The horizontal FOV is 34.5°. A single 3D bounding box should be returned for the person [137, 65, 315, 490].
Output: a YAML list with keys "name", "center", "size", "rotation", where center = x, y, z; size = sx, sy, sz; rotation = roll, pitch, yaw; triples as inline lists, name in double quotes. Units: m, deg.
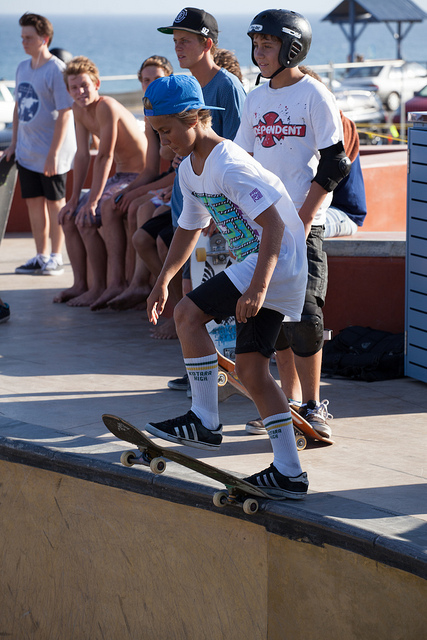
- name: "person"
  center: [0.045, -0.102, 2.535]
  size: [0.641, 1.516, 0.624]
  rotation: [1, 5, 21]

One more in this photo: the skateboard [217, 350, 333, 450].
- name: "skateboard"
  center: [0.257, 0.360, 2.985]
  size: [0.093, 0.560, 0.132]
  rotation: [-47, 9, -7]

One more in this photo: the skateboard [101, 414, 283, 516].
- name: "skateboard"
  center: [-0.089, 0.530, 2.458]
  size: [0.563, 0.132, 0.092]
  rotation: [31, 61, -1]

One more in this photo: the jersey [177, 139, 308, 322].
- name: "jersey"
  center: [0.098, -0.332, 2.554]
  size: [0.498, 0.671, 0.393]
  rotation: [1, 11, 39]

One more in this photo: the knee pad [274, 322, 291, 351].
- name: "knee pad"
  center: [0.333, 0.095, 3.305]
  size: [0.107, 0.088, 0.123]
  rotation: [1, -2, 6]

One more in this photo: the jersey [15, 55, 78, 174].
- name: "jersey"
  center: [-1.784, -2.191, 7.463]
  size: [0.896, 1.168, 0.582]
  rotation: [12, 12, 38]

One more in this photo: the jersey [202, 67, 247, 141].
- name: "jersey"
  center: [0.093, -1.371, 4.174]
  size: [0.201, 0.436, 0.342]
  rotation: [-11, 44, -5]

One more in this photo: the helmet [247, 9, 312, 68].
- name: "helmet"
  center: [0.310, -1.283, 3.122]
  size: [0.303, 0.263, 0.250]
  rotation: [-7, 17, -10]
